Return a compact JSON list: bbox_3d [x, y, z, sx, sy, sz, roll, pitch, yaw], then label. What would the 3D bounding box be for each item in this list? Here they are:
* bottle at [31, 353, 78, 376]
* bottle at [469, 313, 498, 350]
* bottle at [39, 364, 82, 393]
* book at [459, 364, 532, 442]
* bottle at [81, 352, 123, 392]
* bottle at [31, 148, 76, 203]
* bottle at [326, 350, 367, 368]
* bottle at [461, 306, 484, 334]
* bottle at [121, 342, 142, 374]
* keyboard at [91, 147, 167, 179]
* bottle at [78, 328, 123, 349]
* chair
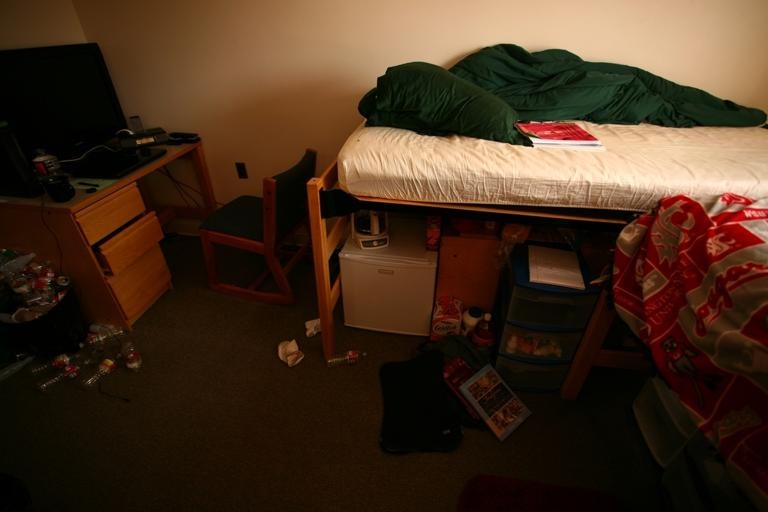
[{"bbox_3d":[-1.878,0.628,3.059,0.205,0.095,0.117,-13,22,-29],"label":"bottle"},{"bbox_3d":[0.572,0.434,3.079,0.145,0.148,0.109,26,45,21],"label":"bottle"},{"bbox_3d":[-1.829,0.695,3.043,0.182,0.054,0.100,-30,59,-21],"label":"bottle"},{"bbox_3d":[0.609,0.814,2.907,0.299,0.028,0.387,-26,58,-16],"label":"book"},{"bbox_3d":[-1.614,0.649,3.060,0.099,0.076,0.215,20,39,27],"label":"bottle"},{"bbox_3d":[-1.807,-0.437,2.909,0.228,0.239,0.122,20,39,28],"label":"bottle"},{"bbox_3d":[-0.226,0.598,3.162,0.234,0.084,0.084,-16,55,-3],"label":"bottle"},{"bbox_3d":[0.508,0.388,3.154,0.120,0.143,0.159,21,53,18],"label":"bottle"},{"bbox_3d":[-1.469,0.597,3.145,0.093,0.035,0.152,-14,55,-3],"label":"bottle"},{"bbox_3d":[-1.557,-0.571,3.222,0.218,0.064,0.333,19,32,26],"label":"keyboard"},{"bbox_3d":[-1.685,0.494,3.211,0.173,0.043,0.098,-5,49,-21],"label":"bottle"},{"bbox_3d":[-0.784,-0.214,3.466,0.689,0.845,0.629,11,30,19],"label":"chair"}]
